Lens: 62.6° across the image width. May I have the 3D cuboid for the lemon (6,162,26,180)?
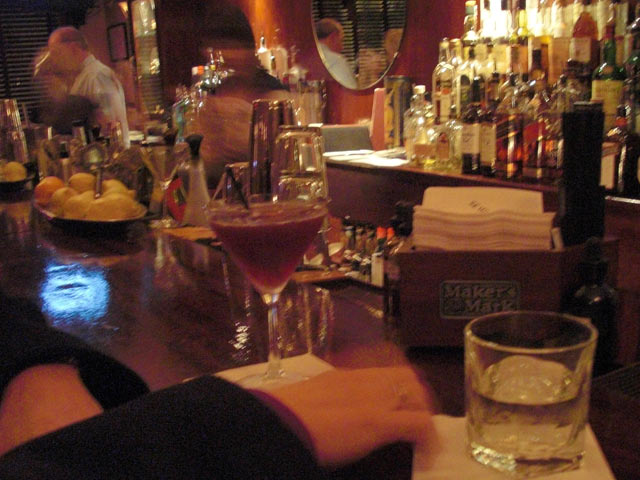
[{"bbox_3d":[-1.296,-0.295,2.231,0.087,0.072,0.121,-8,15,-30],"label":"lemon"}]

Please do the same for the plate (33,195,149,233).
[{"bbox_3d":[-0.676,-0.071,1.508,0.433,0.069,0.162,9,16,31],"label":"plate"}]

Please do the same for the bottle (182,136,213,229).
[{"bbox_3d":[-0.320,-0.150,1.336,0.050,0.231,0.141,-8,15,-32],"label":"bottle"}]

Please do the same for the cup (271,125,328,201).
[{"bbox_3d":[-0.036,-0.128,0.861,0.084,0.114,0.197,-1,13,-6],"label":"cup"}]

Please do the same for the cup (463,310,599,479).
[{"bbox_3d":[0.184,0.132,0.467,0.113,0.111,0.102,4,14,15],"label":"cup"}]

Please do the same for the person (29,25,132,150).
[{"bbox_3d":[-2.254,-1.538,4.953,0.713,0.859,0.507,-5,14,-19],"label":"person"}]
